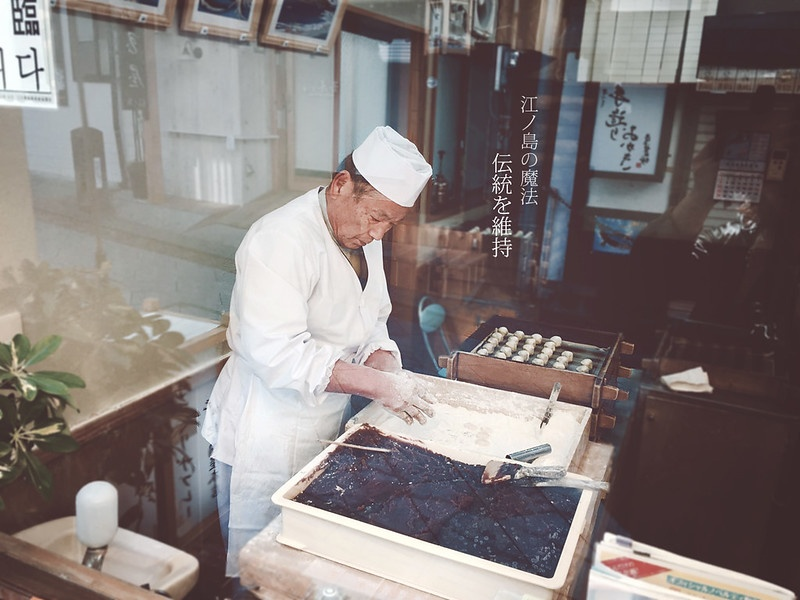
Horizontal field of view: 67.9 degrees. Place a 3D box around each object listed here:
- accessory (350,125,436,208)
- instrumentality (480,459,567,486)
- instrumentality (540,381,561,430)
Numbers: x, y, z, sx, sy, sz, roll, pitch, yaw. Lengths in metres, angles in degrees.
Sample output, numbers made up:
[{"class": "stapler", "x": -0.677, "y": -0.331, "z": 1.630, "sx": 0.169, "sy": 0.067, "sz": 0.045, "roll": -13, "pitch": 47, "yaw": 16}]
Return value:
[{"class": "accessory", "x": -0.065, "y": -0.481, "z": 2.313, "sx": 0.243, "sy": 0.334, "sz": 0.174, "roll": -30, "pitch": -5, "yaw": -38}, {"class": "instrumentality", "x": 0.412, "y": 0.595, "z": 2.024, "sx": 0.174, "sy": 0.040, "sz": 0.115, "roll": -4, "pitch": 12, "yaw": 2}, {"class": "instrumentality", "x": 0.633, "y": 0.426, "z": 2.452, "sx": 0.055, "sy": 0.046, "sz": 0.345, "roll": 13, "pitch": 38, "yaw": 17}]
